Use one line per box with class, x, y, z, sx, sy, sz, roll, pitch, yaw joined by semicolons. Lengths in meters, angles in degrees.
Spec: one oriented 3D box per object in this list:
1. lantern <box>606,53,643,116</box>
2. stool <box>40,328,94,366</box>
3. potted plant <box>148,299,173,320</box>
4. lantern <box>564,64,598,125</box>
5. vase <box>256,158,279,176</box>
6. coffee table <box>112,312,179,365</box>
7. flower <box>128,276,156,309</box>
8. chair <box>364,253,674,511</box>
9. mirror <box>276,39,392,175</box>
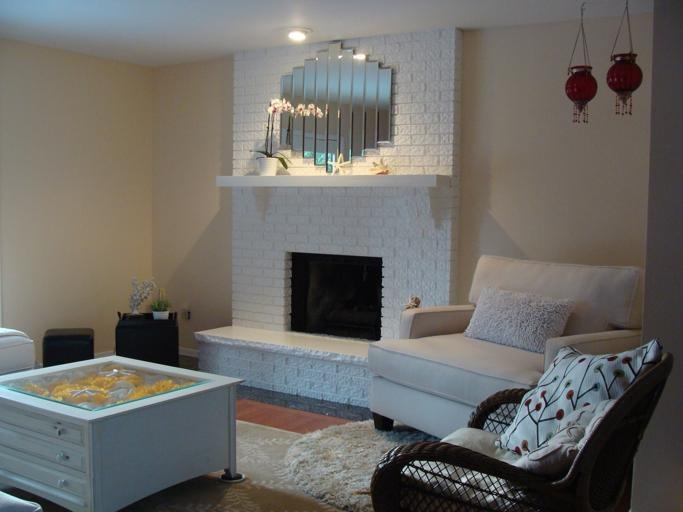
lantern;1.900;-1.192;3.615;0.198;0.411;0.759;0;4;28
stool;-2.379;0.756;4.700;0.350;0.308;0.353;1;-3;-30
potted plant;-1.697;0.493;5.113;0.179;0.220;0.198;0;1;-20
lantern;1.701;-1.175;3.814;0.203;0.394;0.694;0;4;24
vase;-0.690;-0.831;5.078;0.155;0.132;0.174;2;1;4
coffee table;-1.733;0.720;5.001;0.594;0.602;0.415;0;-3;6
flower;-2.026;0.361;5.462;0.318;0.395;0.140;3;-2;21
chair;0.920;0.630;3.036;1.330;1.407;1.441;3;-1;-40
mirror;-0.022;-1.359;4.857;1.147;1.157;0.044;5;5;32
